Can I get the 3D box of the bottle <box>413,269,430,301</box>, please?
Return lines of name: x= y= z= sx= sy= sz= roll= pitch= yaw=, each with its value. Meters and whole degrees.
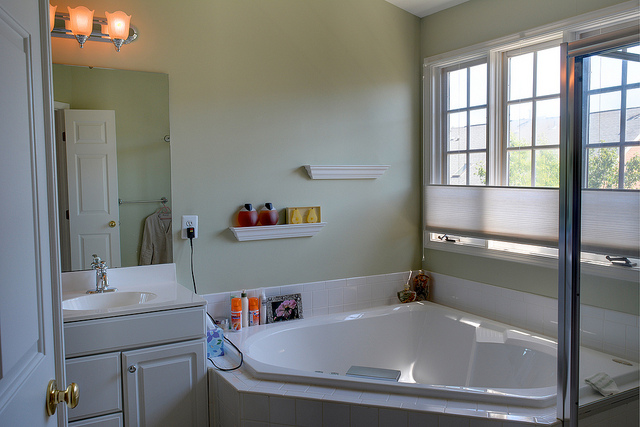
bottle: x=0.932 y=0.655 z=4.095 sx=0.147 sy=0.261 sz=0.166 roll=-2 pitch=8 yaw=-4

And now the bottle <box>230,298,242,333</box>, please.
bottle: x=-0.626 y=0.758 z=3.330 sx=0.082 sy=0.240 sz=0.091 roll=-3 pitch=8 yaw=-12

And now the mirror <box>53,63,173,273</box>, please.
mirror: x=-1.394 y=-0.103 z=3.054 sx=0.691 sy=1.356 sz=0.131 roll=-4 pitch=-6 yaw=-7

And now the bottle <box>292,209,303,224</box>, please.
bottle: x=-0.174 y=0.025 z=3.545 sx=0.071 sy=0.104 sz=0.038 roll=-4 pitch=2 yaw=-13

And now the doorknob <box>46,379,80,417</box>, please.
doorknob: x=-0.881 y=0.627 z=1.569 sx=0.100 sy=0.128 sz=0.120 roll=-1 pitch=-6 yaw=-9

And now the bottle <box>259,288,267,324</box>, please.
bottle: x=-0.449 y=0.721 z=3.485 sx=0.053 sy=0.263 sz=0.099 roll=-3 pitch=8 yaw=-8

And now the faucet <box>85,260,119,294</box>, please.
faucet: x=-1.474 y=0.425 z=2.989 sx=0.213 sy=0.234 sz=0.078 roll=1 pitch=-3 yaw=-36

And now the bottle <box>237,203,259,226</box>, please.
bottle: x=-0.547 y=0.000 z=3.371 sx=0.152 sy=0.190 sz=0.163 roll=-2 pitch=6 yaw=-16

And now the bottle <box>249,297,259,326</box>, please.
bottle: x=-0.508 y=0.753 z=3.422 sx=0.073 sy=0.208 sz=0.041 roll=-3 pitch=8 yaw=-9

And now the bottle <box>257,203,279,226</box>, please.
bottle: x=-0.406 y=0.003 z=3.543 sx=0.159 sy=0.197 sz=0.168 roll=-3 pitch=7 yaw=-28
